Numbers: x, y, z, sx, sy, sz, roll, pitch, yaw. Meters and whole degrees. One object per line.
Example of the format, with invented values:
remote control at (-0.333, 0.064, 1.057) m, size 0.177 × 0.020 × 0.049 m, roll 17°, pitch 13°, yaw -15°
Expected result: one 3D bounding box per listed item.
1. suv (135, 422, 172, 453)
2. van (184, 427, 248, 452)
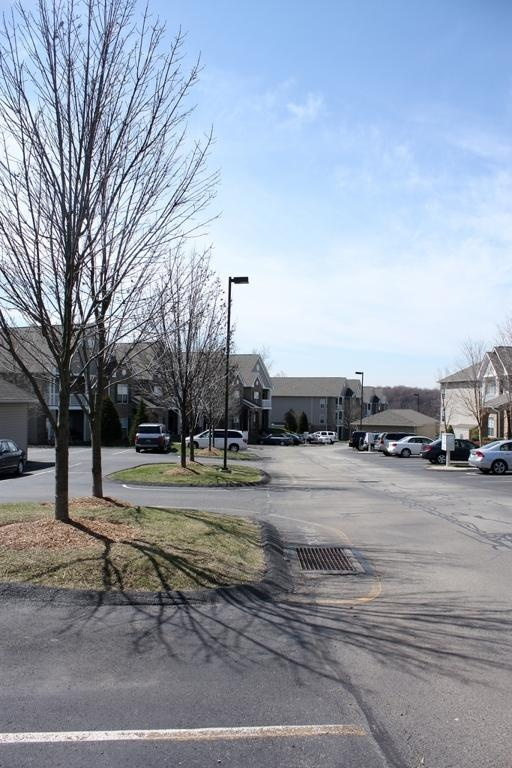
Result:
suv at (-5.700, 3.065, 37.578) m, size 1.145 × 1.215 × 2.303 m, roll 1°, pitch 3°, yaw 8°
van at (-2.439, 3.530, 42.150) m, size 3.561 × 1.386 × 1.742 m, roll 4°, pitch -4°, yaw 2°
